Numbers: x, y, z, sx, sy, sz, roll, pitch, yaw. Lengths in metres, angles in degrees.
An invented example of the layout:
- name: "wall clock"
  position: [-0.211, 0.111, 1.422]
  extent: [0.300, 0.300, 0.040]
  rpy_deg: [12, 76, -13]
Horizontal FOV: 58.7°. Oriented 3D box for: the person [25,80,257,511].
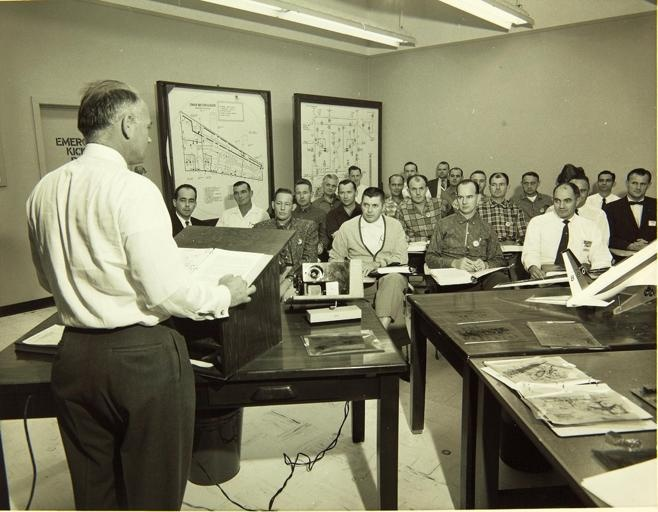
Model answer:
- name: "person"
  position: [-0.854, 0.185, 2.491]
  extent: [0.858, 1.811, 0.394]
  rpy_deg: [-2, 12, -7]
